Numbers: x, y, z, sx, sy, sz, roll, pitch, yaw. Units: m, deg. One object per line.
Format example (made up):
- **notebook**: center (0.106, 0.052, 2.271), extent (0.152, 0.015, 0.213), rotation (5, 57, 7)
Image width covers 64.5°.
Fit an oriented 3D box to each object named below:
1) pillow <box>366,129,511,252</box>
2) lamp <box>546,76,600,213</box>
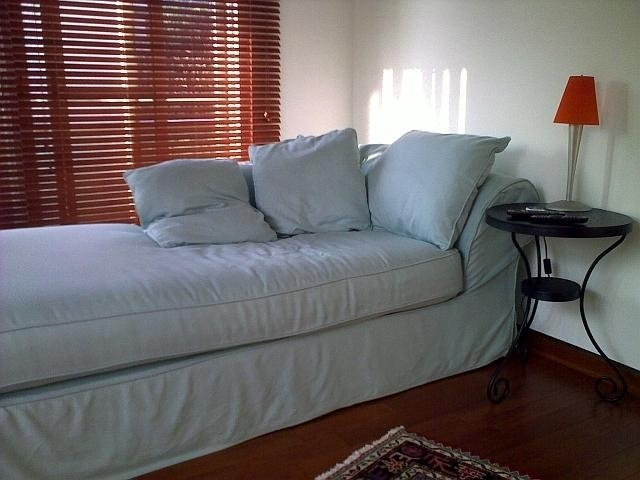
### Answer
- **pillow**: center (0.631, -0.317, 2.610), extent (0.200, 0.658, 0.651), rotation (20, 2, -42)
- **lamp**: center (1.179, -0.452, 2.350), extent (0.190, 0.595, 0.386), rotation (6, 21, 26)
